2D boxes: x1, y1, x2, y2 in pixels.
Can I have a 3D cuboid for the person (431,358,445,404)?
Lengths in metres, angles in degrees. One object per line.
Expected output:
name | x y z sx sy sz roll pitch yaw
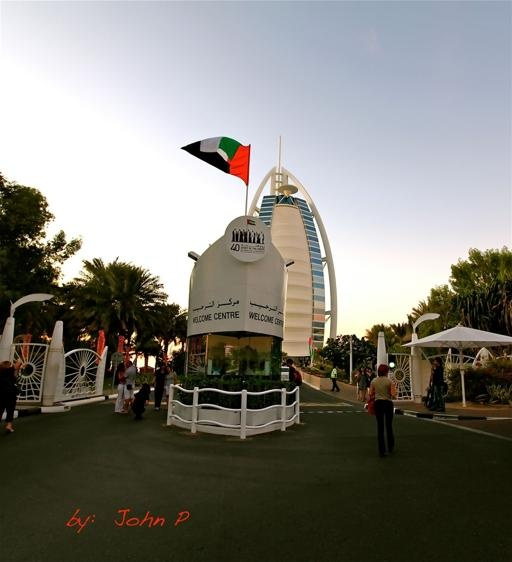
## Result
person | 7.067 3.964 15.863 0.500 1.743 1.219 -3 -13 23

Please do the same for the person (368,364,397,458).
person | 2.449 2.521 7.924 0.465 1.698 0.892 0 -12 12

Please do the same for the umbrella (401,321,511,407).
umbrella | 8.959 3.324 18.028 3.925 3.025 3.807 -1 -14 5

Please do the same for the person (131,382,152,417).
person | -3.861 4.052 13.639 0.514 1.152 1.453 5 -13 -15
